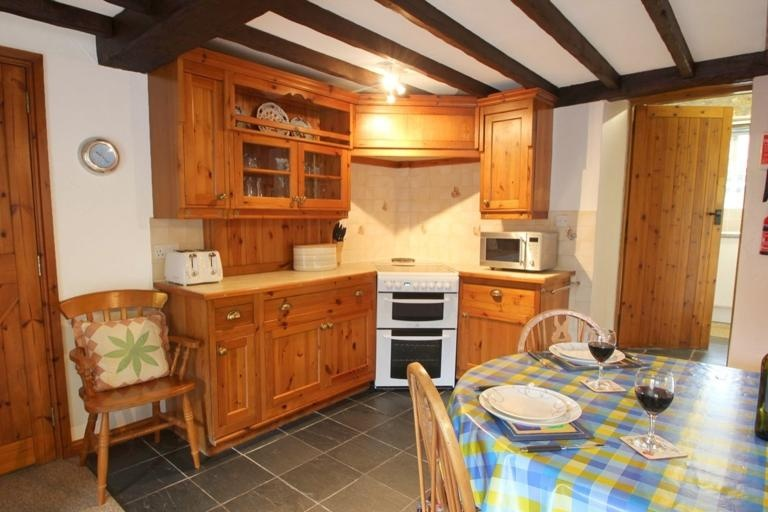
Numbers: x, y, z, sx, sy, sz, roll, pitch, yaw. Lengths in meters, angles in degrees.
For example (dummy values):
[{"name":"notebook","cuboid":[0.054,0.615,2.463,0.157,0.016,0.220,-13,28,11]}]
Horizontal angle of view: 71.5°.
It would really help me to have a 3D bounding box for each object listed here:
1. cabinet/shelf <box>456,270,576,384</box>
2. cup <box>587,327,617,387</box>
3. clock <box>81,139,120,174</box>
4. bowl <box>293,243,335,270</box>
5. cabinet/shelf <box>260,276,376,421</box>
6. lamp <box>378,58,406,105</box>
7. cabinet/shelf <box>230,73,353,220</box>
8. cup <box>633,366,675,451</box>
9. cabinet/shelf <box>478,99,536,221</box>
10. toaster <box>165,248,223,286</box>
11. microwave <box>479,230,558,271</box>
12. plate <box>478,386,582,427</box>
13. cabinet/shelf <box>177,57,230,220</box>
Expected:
[{"name":"cabinet/shelf","cuboid":[1.133,0.650,4.865,0.872,1.039,0.764,7,10,25]},{"name":"cup","cuboid":[1.186,0.559,2.939,0.175,0.291,0.168,3,-5,0]},{"name":"clock","cuboid":[-2.047,-0.720,3.848,0.241,0.250,0.048,-8,8,-37]},{"name":"bowl","cuboid":[-0.588,-0.006,4.665,0.274,0.129,0.260,0,2,0]},{"name":"cabinet/shelf","cuboid":[-0.676,0.701,4.506,0.466,1.041,1.263,2,6,38]},{"name":"lamp","cuboid":[0.065,-1.437,4.390,0.237,0.300,0.227,8,-27,-19]},{"name":"cabinet/shelf","cuboid":[-0.854,-0.851,4.506,0.375,1.041,1.230,7,8,42]},{"name":"cup","cuboid":[1.294,0.707,2.558,0.152,0.359,0.245,0,7,29]},{"name":"cabinet/shelf","cuboid":[1.218,-0.845,4.824,0.401,1.016,0.552,-9,12,-35]},{"name":"toaster","cuboid":[-1.488,0.079,4.105,0.381,0.232,0.365,4,6,26]},{"name":"microwave","cuboid":[1.250,-0.064,4.833,0.434,0.316,0.614,-5,7,-43]},{"name":"plate","cuboid":[0.766,0.737,2.694,0.398,0.040,0.388,14,26,40]},{"name":"cabinet/shelf","cuboid":[-1.326,-0.842,3.924,0.395,1.044,0.105,6,16,10]}]
